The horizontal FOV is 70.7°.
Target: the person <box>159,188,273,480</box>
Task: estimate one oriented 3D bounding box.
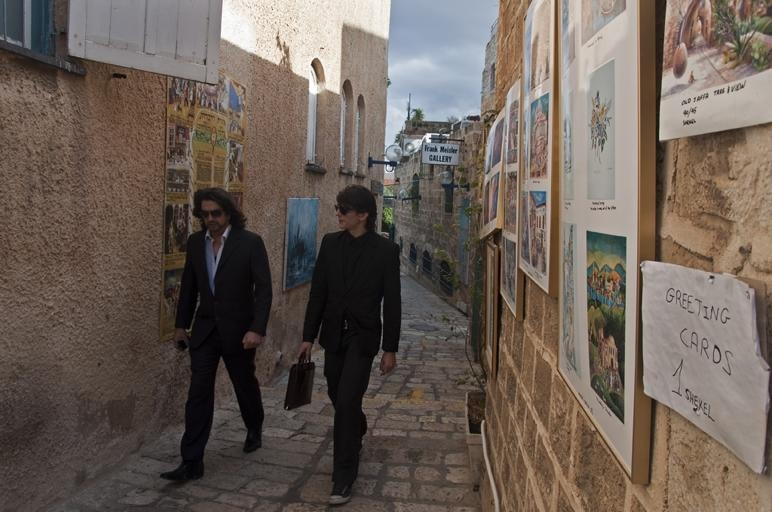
[{"bbox_3d":[-1.369,0.596,4.513,0.785,2.279,0.618,2,2,-23],"label":"person"}]

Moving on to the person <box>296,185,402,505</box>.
[{"bbox_3d":[-0.287,0.634,4.364,0.653,2.389,0.622,1,2,-38],"label":"person"}]

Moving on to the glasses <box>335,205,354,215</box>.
[{"bbox_3d":[-0.333,-0.343,4.289,0.087,0.033,0.082,9,3,-38],"label":"glasses"}]
